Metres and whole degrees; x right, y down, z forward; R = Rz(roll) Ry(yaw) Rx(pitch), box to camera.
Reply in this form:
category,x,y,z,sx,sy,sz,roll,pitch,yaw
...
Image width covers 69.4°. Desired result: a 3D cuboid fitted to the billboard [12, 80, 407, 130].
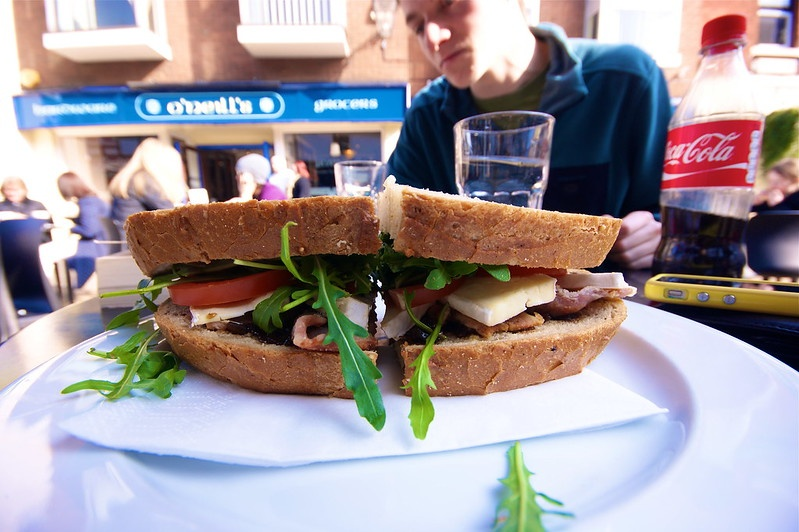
category,x,y,z,sx,sy,sz,roll,pitch,yaw
billboard,-4.044,-3.204,12.305,8.796,0.683,1.332,3,-4,12
